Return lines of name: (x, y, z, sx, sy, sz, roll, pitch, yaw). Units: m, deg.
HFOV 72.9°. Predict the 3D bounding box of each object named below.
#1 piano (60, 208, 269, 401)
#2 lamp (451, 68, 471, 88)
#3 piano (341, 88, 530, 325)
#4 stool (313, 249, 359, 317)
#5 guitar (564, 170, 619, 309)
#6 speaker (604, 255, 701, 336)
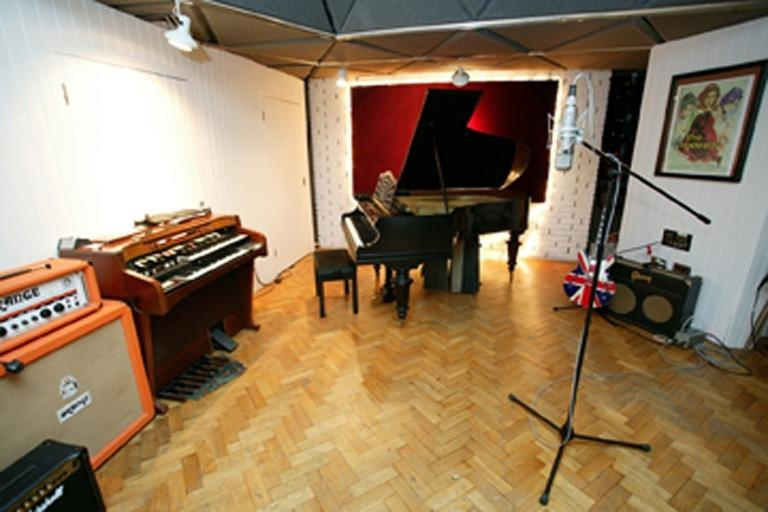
piano: (-1.897, 0.350, 5.012, 1.099, 1.360, 1.441, 5, 21, 23)
lamp: (0.962, -2.220, 6.515, 0.172, 0.219, 0.599, 5, 18, 9)
piano: (0.477, -0.634, 6.017, 2.493, 2.168, 1.858, -12, 20, -29)
stool: (-0.532, 0.293, 5.854, 0.474, 0.644, 0.595, -1, 19, -7)
guitar: (2.133, -0.126, 5.126, 0.116, 1.325, 0.499, 0, 13, -41)
speaker: (2.785, 0.408, 5.331, 0.330, 0.600, 0.699, -9, 17, -28)
